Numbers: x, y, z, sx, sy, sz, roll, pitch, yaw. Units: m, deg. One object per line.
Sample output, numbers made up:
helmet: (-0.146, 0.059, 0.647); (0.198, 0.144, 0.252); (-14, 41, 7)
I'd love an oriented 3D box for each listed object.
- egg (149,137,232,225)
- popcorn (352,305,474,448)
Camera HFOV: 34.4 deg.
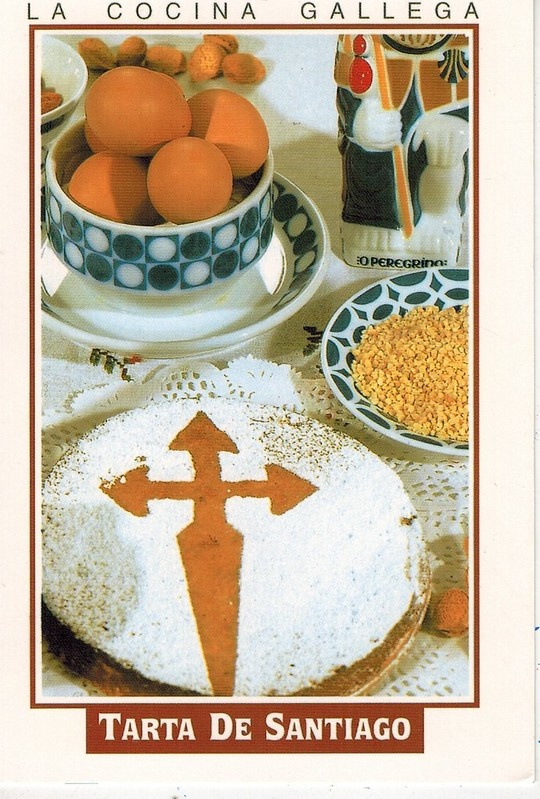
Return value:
egg: (-0.084, -0.229, 0.920); (0.098, 0.095, 0.106); (-1, 83, -12)
popcorn: (0.173, -0.029, 0.934); (0.148, 0.043, 0.141); (3, 74, -1)
